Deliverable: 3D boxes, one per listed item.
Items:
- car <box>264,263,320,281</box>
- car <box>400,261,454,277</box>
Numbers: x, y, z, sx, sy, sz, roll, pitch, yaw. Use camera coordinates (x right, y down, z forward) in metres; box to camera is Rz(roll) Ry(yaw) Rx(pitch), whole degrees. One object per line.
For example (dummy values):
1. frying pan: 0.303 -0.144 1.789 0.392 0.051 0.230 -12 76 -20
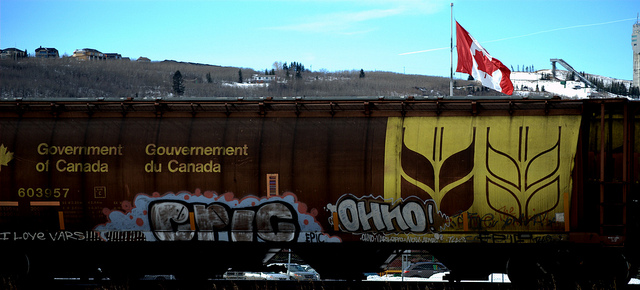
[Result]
1. car: -2.731 12.245 75.672 4.362 1.673 2.014 -3 0 11
2. car: 10.331 12.368 76.193 4.990 1.458 2.122 -2 -2 5
